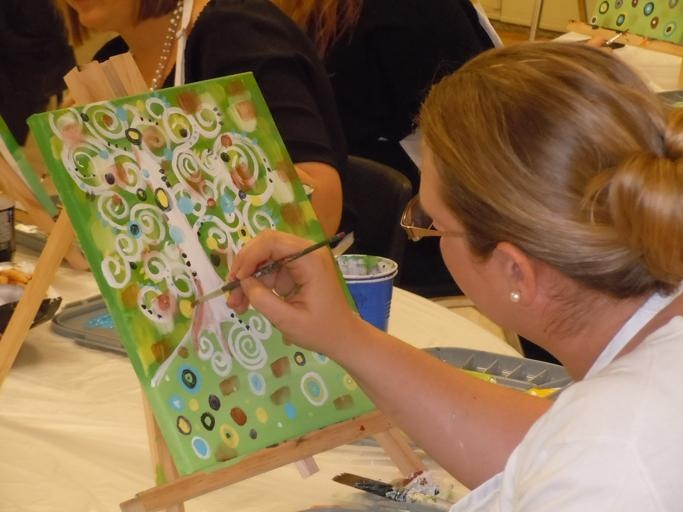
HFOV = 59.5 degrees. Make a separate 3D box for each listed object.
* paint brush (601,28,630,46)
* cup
[{"bbox_3d":[1.249,-0.991,2.712,0.072,0.107,0.072,-3,63,-5],"label":"paint brush"},{"bbox_3d":[0.042,0.072,1.216,0.135,0.127,0.149,-1,9,-6],"label":"cup"}]
